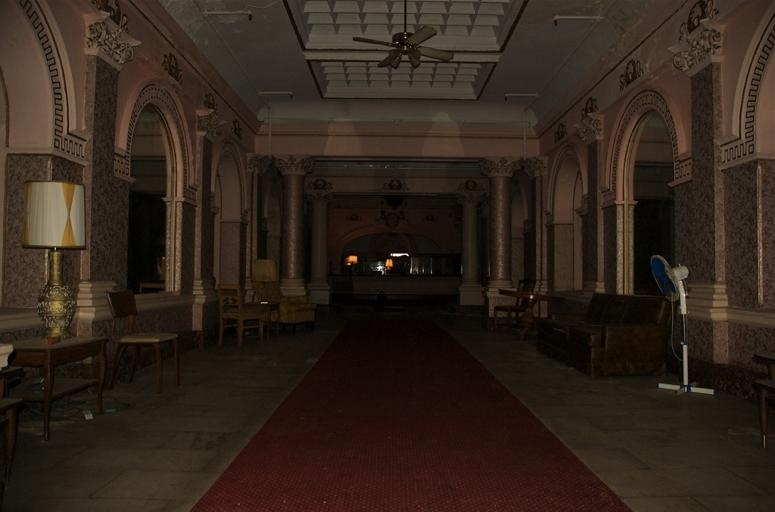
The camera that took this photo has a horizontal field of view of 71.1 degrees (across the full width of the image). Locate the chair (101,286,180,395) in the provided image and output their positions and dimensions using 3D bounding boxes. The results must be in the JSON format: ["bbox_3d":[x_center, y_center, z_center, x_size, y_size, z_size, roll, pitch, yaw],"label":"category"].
[{"bbox_3d":[-3.246,1.077,7.211,0.770,1.229,0.720,-1,-2,6],"label":"chair"}]

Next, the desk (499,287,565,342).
[{"bbox_3d":[3.030,1.151,11.828,1.101,0.905,1.150,2,4,1],"label":"desk"}]

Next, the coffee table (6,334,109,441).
[{"bbox_3d":[-3.516,1.420,6.094,0.697,0.746,0.879,-4,-7,-41],"label":"coffee table"}]

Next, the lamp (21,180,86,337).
[{"bbox_3d":[-3.675,0.042,6.005,0.465,1.726,0.434,2,5,18],"label":"lamp"}]

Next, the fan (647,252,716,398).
[{"bbox_3d":[4.012,0.896,7.501,0.719,1.792,1.085,1,5,11],"label":"fan"}]

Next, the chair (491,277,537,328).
[{"bbox_3d":[2.930,1.106,12.381,0.808,1.138,0.808,3,-2,-10],"label":"chair"}]
